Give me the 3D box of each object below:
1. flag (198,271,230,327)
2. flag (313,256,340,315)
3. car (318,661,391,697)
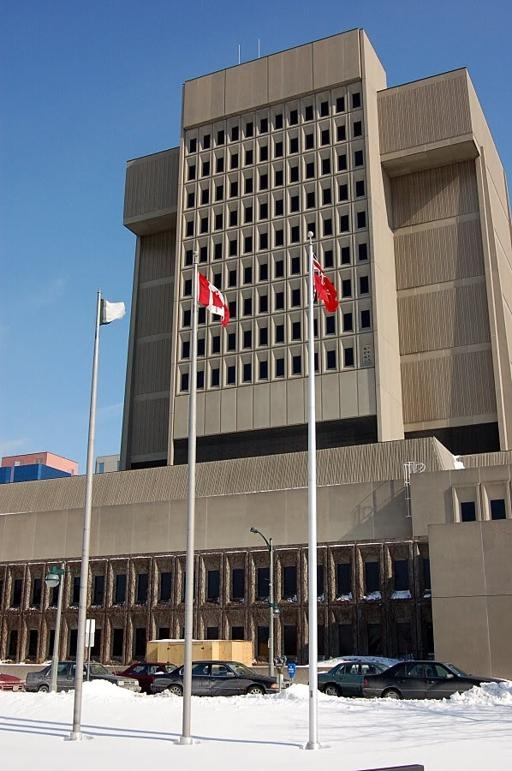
[{"bbox_3d":[-1.082,-2.314,16.596,0.125,1.116,1.278,-23,-31,32],"label":"flag"},{"bbox_3d":[3.502,-4.791,30.732,0.872,2.868,6.838,-24,3,10],"label":"flag"},{"bbox_3d":[3.218,9.952,21.321,2.277,0.973,1.102,-18,-25,29],"label":"car"}]
